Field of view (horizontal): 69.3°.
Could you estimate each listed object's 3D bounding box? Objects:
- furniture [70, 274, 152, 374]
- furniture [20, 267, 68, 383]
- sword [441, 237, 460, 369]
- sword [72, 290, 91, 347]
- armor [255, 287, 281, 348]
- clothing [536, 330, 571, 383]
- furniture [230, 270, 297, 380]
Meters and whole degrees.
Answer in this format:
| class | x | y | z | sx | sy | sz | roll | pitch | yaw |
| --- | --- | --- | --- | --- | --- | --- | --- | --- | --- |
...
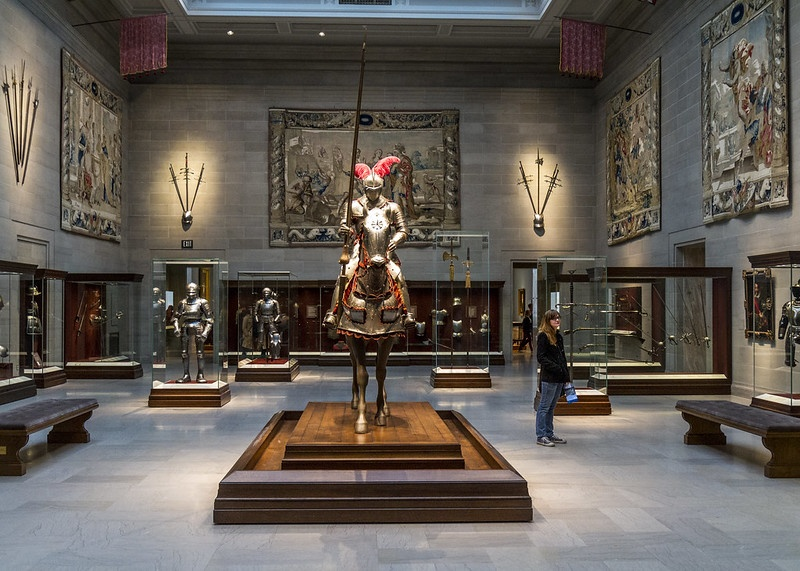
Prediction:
| class | x | y | z | sx | sy | sz | roll | pitch | yaw |
| --- | --- | --- | --- | --- | --- | --- | --- | --- | --- |
| furniture | -7.906 | 1.089 | 15.831 | 2.047 | 2.708 | 1.670 | 0 | -2 | -6 |
| furniture | -8.535 | 1.008 | 14.147 | 0.633 | 2.694 | 1.278 | 0 | 6 | -36 |
| sword | 1.215 | -0.238 | 13.646 | 0.474 | 1.887 | 0.139 | 4 | -9 | -30 |
| sword | -8.257 | 0.755 | 14.940 | 0.148 | 1.199 | 0.429 | 1 | 4 | 25 |
| armor | -3.466 | 0.927 | 15.066 | 0.650 | 1.768 | 0.382 | -1 | 3 | -6 |
| clothing | 2.366 | 1.121 | 8.950 | 0.466 | 0.778 | 0.209 | -1 | 3 | -14 |
| furniture | -3.789 | 1.191 | 15.571 | 1.617 | 2.456 | 1.454 | -8 | -3 | 2 |
